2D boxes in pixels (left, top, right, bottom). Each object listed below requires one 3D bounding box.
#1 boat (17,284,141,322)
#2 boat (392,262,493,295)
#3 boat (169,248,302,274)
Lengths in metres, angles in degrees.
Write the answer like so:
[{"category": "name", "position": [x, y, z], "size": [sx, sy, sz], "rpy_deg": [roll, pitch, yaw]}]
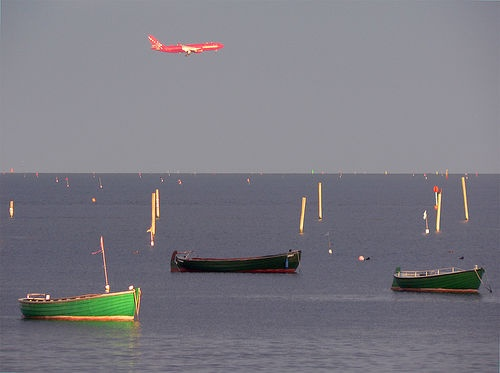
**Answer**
[{"category": "boat", "position": [-16.818, 11.537, 117.676], "size": [11.635, 3.195, 3.695], "rpy_deg": [-1, -3, 7]}, {"category": "boat", "position": [19.697, 9.440, 126.596], "size": [10.006, 3.281, 3.250], "rpy_deg": [-1, 0, 20]}, {"category": "boat", "position": [-1.466, 8.238, 134.743], "size": [13.903, 2.520, 1.627], "rpy_deg": [1, 6, 2]}]
